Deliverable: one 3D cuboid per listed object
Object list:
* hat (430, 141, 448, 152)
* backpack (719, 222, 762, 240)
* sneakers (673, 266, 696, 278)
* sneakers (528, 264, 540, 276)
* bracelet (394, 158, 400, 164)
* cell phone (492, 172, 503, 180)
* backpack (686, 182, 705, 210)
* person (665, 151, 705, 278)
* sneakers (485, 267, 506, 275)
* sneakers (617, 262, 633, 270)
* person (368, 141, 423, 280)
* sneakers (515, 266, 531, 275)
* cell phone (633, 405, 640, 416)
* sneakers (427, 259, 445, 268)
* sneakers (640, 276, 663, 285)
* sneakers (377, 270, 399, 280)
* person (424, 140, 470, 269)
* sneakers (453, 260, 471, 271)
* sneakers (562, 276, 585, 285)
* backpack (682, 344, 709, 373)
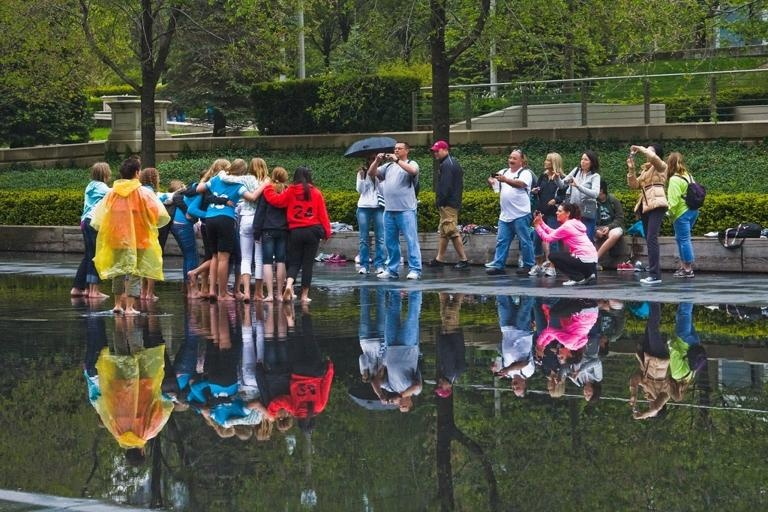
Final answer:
[{"bbox_3d":[1.122,-2.145,22.500,0.279,0.233,0.449,1,15,7],"label":"hat"},{"bbox_3d":[6.948,-0.454,22.021,0.557,0.243,0.384,-3,-3,11],"label":"backpack"},{"bbox_3d":[5.676,0.299,21.518,0.418,0.238,0.178,4,6,28],"label":"sneakers"},{"bbox_3d":[2.972,0.279,22.217,0.115,0.158,0.321,4,12,42],"label":"sneakers"},{"bbox_3d":[0.243,-1.757,21.110,0.071,0.057,0.080,0,-3,39],"label":"bracelet"},{"bbox_3d":[2.180,-1.540,21.894,0.177,0.142,0.043,-4,-1,40],"label":"cell phone"},{"bbox_3d":[5.727,-1.093,21.064,0.413,0.552,0.456,-2,2,21],"label":"backpack"},{"bbox_3d":[5.573,-0.703,21.064,0.680,2.344,0.447,3,15,15],"label":"person"},{"bbox_3d":[2.192,0.299,22.294,0.344,0.163,0.131,4,-2,-6],"label":"sneakers"},{"bbox_3d":[4.830,0.217,22.744,0.298,0.143,0.124,-2,0,8],"label":"sneakers"},{"bbox_3d":[0.248,-0.867,21.794,0.798,2.642,1.188,-6,15,-19],"label":"person"},{"bbox_3d":[2.743,0.297,22.424,0.291,0.132,0.108,4,8,41],"label":"sneakers"},{"bbox_3d":[3.132,1.912,14.098,0.061,0.040,0.098,-5,36,2],"label":"cell phone"},{"bbox_3d":[1.099,0.137,23.528,0.323,0.155,0.126,4,0,3],"label":"sneakers"},{"bbox_3d":[4.862,0.456,20.750,0.427,0.201,0.163,5,6,-4],"label":"sneakers"},{"bbox_3d":[0.087,0.378,22.009,0.416,0.198,0.159,4,-1,0],"label":"sneakers"},{"bbox_3d":[1.337,-1.004,22.887,0.694,2.648,0.647,0,14,4],"label":"person"},{"bbox_3d":[1.619,0.177,23.305,0.362,0.196,0.141,0,8,-9],"label":"sneakers"},{"bbox_3d":[3.458,0.454,20.695,0.324,0.149,0.145,4,-2,-5],"label":"sneakers"},{"bbox_3d":[4.326,1.407,15.714,0.235,0.128,0.338,-8,42,3],"label":"backpack"}]
